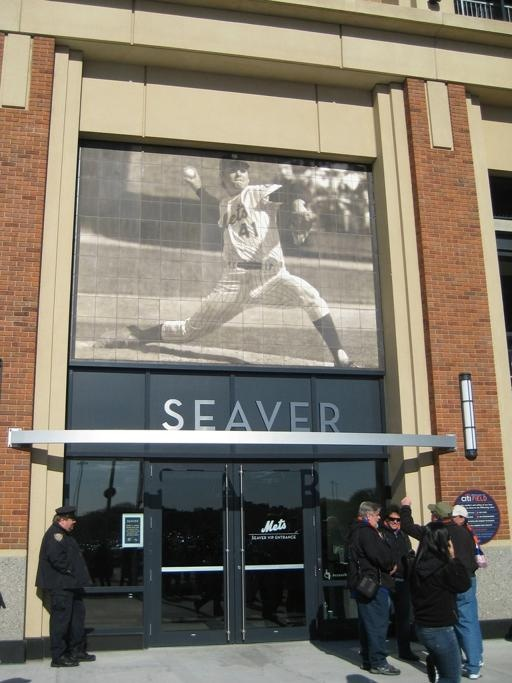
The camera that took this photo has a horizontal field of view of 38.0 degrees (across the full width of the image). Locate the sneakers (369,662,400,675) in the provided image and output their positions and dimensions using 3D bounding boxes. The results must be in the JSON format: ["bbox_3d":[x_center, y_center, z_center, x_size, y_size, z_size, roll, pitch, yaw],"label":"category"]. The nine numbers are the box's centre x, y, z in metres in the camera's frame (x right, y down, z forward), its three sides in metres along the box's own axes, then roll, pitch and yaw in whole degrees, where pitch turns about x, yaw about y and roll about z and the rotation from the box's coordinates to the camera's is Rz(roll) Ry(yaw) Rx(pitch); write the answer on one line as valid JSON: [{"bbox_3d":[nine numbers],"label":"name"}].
[{"bbox_3d":[1.395,3.565,8.104,0.310,0.145,0.113,-4,-14,16],"label":"sneakers"}]

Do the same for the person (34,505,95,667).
[{"bbox_3d":[-2.219,2.900,8.864,0.623,1.793,0.451,8,-17,-32],"label":"person"}]

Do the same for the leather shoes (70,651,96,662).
[{"bbox_3d":[-2.032,3.745,8.829,0.291,0.129,0.102,5,-2,-12],"label":"leather shoes"}]

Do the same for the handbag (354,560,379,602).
[{"bbox_3d":[1.172,2.605,7.980,0.127,0.320,0.249,4,-9,-37],"label":"handbag"}]

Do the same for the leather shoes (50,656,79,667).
[{"bbox_3d":[-2.179,3.708,8.561,0.288,0.145,0.121,2,-14,-1],"label":"leather shoes"}]

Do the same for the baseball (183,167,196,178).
[{"bbox_3d":[-1.006,-2.600,11.382,0.165,0.130,0.145,-15,-7,21],"label":"baseball"}]

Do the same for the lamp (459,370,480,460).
[{"bbox_3d":[3.055,1.092,10.807,0.183,1.266,0.200,-2,-14,5],"label":"lamp"}]

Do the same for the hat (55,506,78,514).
[{"bbox_3d":[-2.280,2.047,9.017,0.167,0.078,0.200,7,-1,44],"label":"hat"}]
